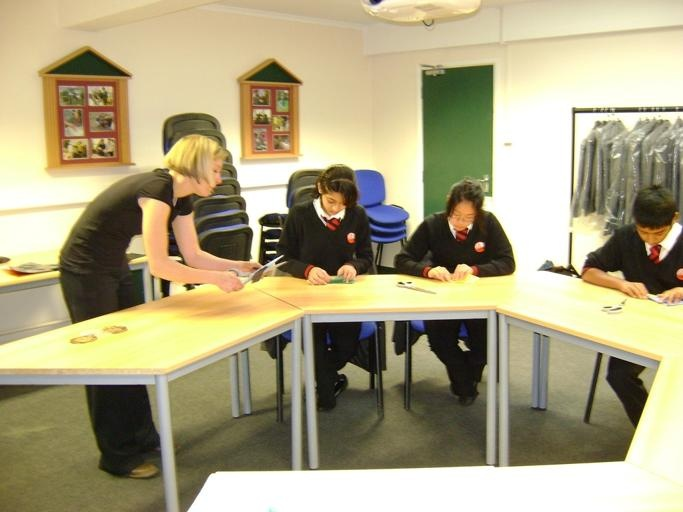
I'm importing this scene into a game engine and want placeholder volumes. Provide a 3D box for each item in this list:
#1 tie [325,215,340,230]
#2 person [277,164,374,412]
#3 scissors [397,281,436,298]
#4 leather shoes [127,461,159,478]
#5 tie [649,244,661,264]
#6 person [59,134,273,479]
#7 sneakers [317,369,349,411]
[{"bbox_3d":[-0.049,-0.205,3.419,0.096,0.073,0.023,-5,17,-15],"label":"tie"},{"bbox_3d":[-0.121,0.214,3.511,0.748,1.484,0.609,0,6,-12],"label":"person"},{"bbox_3d":[0.428,0.191,3.220,0.072,0.018,0.200,-17,18,-36],"label":"scissors"},{"bbox_3d":[-1.054,1.130,2.960,0.152,0.051,0.070,-3,1,-3],"label":"leather shoes"},{"bbox_3d":[1.718,-0.014,3.062,0.068,0.086,0.024,9,12,40],"label":"tie"},{"bbox_3d":[-0.919,0.291,2.835,0.865,1.764,0.487,-8,16,-24],"label":"person"},{"bbox_3d":[-0.069,0.865,3.565,0.216,0.203,0.569,6,-15,1],"label":"sneakers"}]
